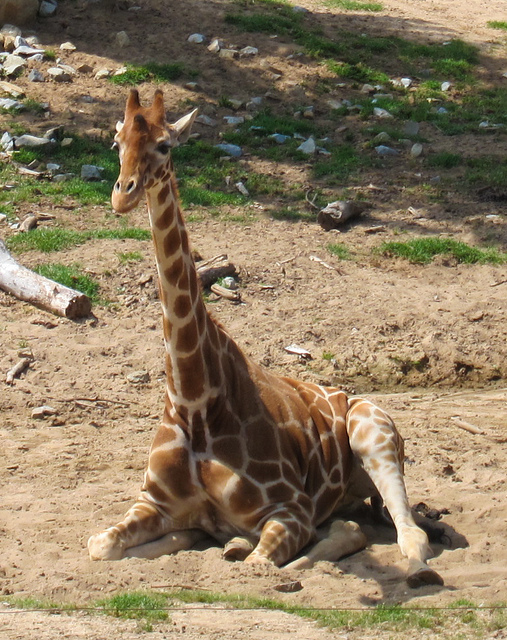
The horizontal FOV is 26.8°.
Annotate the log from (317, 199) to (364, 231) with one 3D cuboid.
[{"bbox_3d":[1.146,-1.401,14.178,0.340,0.275,0.636,12,23,29],"label":"log"}]

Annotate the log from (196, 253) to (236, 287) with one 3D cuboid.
[{"bbox_3d":[-0.467,-0.566,12.476,0.318,0.162,0.628,40,46,20],"label":"log"}]

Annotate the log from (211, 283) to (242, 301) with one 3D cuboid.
[{"bbox_3d":[-0.313,-0.311,12.229,0.299,0.060,0.168,24,4,25],"label":"log"}]

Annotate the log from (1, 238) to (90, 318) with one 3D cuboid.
[{"bbox_3d":[-2.496,-0.422,11.981,1.448,0.403,0.454,21,-18,23],"label":"log"}]

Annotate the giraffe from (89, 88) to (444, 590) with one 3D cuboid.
[{"bbox_3d":[0.171,0.211,8.019,2.887,3.538,2.458,-1,1,-38],"label":"giraffe"}]
